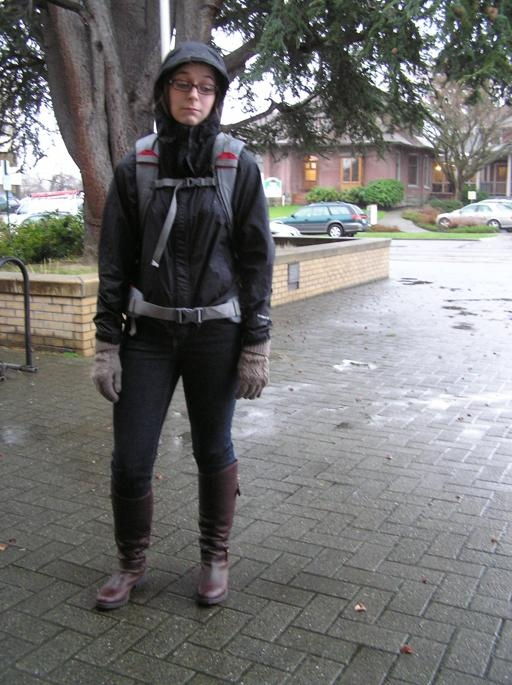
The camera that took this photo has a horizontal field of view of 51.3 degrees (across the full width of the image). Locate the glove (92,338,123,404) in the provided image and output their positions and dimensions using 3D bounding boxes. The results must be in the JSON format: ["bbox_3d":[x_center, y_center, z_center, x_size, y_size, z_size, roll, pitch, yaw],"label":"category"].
[{"bbox_3d":[-0.511,0.100,1.819,0.097,0.212,0.082,-1,5,-20],"label":"glove"}]

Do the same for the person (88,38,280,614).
[{"bbox_3d":[-0.265,-0.005,1.940,0.633,2.044,0.376,-1,5,-15],"label":"person"}]

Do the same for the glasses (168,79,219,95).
[{"bbox_3d":[-0.210,-0.839,1.756,0.151,0.047,0.055,0,5,-8],"label":"glasses"}]

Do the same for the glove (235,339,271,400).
[{"bbox_3d":[-0.004,0.099,1.946,0.135,0.193,0.075,2,0,13],"label":"glove"}]
